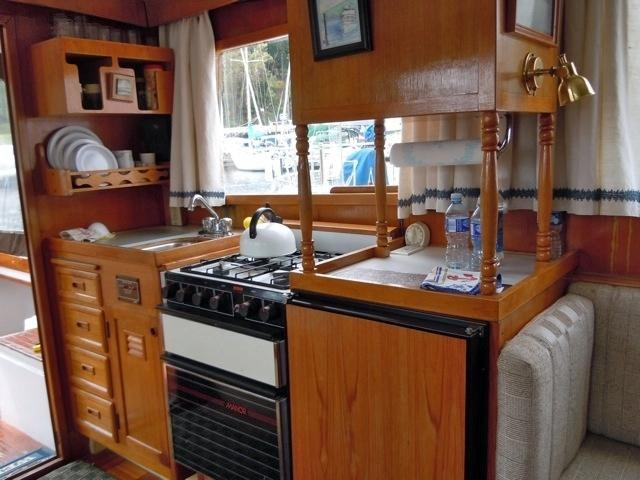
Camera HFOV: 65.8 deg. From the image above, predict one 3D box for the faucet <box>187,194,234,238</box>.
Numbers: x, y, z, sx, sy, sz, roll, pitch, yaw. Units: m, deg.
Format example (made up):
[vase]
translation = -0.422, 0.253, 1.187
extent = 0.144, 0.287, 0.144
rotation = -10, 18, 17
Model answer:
[faucet]
translation = -0.619, -0.133, 2.814
extent = 0.207, 0.237, 0.282
rotation = 3, 7, 24

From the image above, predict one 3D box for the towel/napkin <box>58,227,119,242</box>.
[towel/napkin]
translation = -1.327, -0.031, 2.867
extent = 0.259, 0.070, 0.292
rotation = 3, 13, 28

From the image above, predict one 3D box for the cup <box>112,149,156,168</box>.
[cup]
translation = -1.116, -0.471, 3.008
extent = 0.210, 0.142, 0.115
rotation = 2, -1, -24

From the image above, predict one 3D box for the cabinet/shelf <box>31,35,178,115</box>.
[cabinet/shelf]
translation = -1.220, -0.912, 2.839
extent = 0.382, 0.387, 0.684
rotation = 5, 14, 35

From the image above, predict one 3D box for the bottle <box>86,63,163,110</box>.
[bottle]
translation = -1.110, -0.876, 2.802
extent = 0.138, 0.197, 0.328
rotation = 3, 11, 28

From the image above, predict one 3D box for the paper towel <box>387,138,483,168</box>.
[paper towel]
translation = 0.446, -0.325, 1.990
extent = 0.434, 0.119, 0.119
rotation = -1, 18, 31

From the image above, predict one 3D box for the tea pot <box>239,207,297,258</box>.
[tea pot]
translation = -0.232, -0.031, 2.374
extent = 0.260, 0.219, 0.257
rotation = -2, 4, 0

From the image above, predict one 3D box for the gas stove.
[gas stove]
translation = -0.343, 0.218, 2.197
extent = 0.449, 0.183, 0.477
rotation = 4, 10, 36

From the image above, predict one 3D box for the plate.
[plate]
translation = -1.356, -0.533, 2.842
extent = 0.221, 0.263, 0.340
rotation = 5, 14, 36

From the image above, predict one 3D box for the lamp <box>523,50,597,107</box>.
[lamp]
translation = 0.728, -0.525, 1.631
extent = 0.265, 0.202, 0.161
rotation = 14, 32, 38
